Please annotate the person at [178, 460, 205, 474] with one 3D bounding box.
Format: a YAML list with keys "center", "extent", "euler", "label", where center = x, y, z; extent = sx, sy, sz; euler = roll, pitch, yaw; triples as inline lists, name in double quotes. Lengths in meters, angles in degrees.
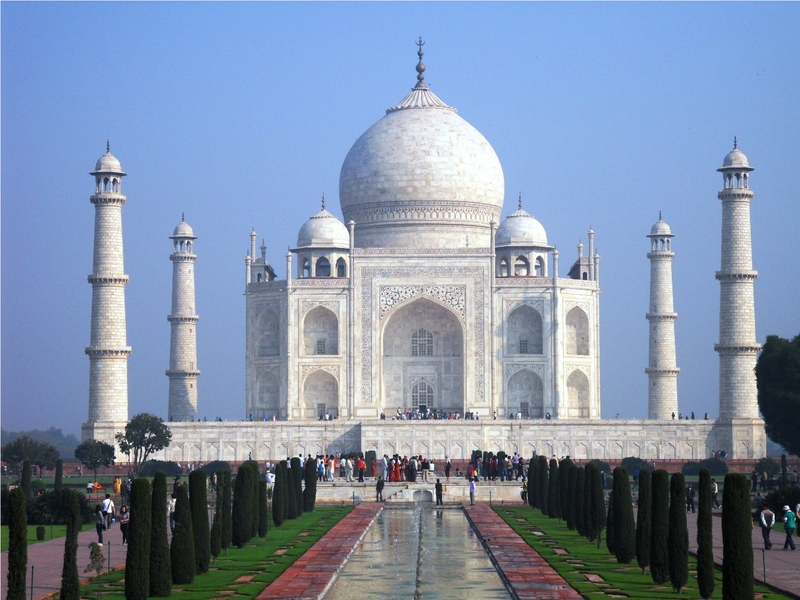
- center: [-7.277, 5.776, 65.739]
  extent: [0.871, 0.503, 1.506]
  euler: [0, -7, -7]
  label: "person"
